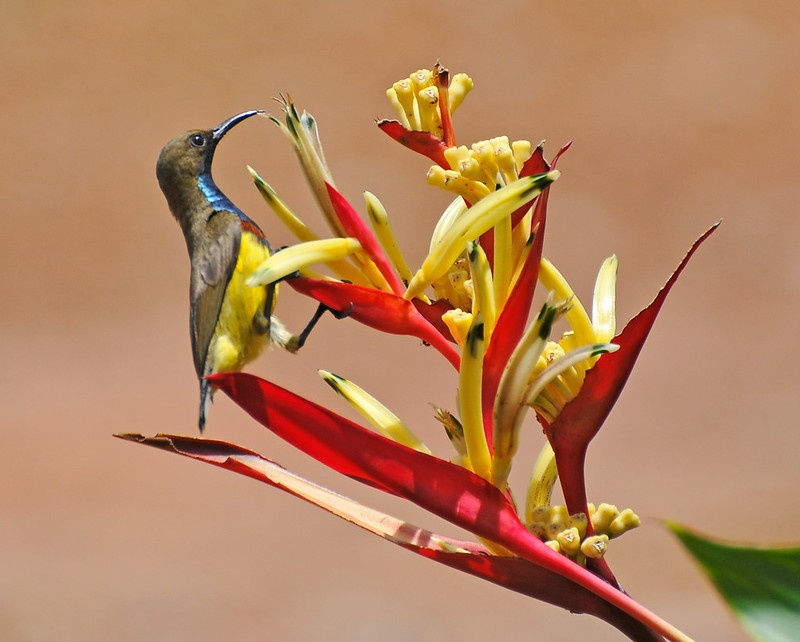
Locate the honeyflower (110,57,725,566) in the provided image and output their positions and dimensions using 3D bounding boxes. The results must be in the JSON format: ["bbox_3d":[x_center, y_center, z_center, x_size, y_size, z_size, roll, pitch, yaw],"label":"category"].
[{"bbox_3d":[0.122,-0.010,1.893,0.480,0.498,0.989,-3,-81,-8],"label":"honeyflower"}]

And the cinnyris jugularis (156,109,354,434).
[{"bbox_3d":[-0.276,-0.111,2.146,0.294,0.466,0.150,-21,-2,15],"label":"cinnyris jugularis"}]
